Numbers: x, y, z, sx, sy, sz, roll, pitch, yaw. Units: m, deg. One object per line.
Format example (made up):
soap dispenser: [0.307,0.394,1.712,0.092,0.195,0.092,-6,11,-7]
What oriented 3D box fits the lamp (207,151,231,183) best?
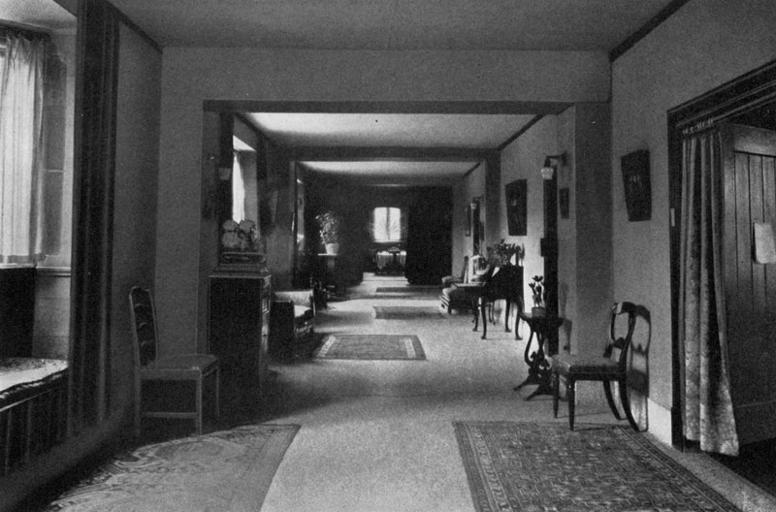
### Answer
lamp: [-1.750,-0.900,5.961,0.221,0.417,0.417,-1,5,0]

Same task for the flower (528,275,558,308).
flower: [1.715,0.388,6.461,0.210,0.295,0.161,-4,1,18]

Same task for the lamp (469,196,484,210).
lamp: [1.692,-0.993,10.829,0.239,0.131,0.348,-3,15,-6]

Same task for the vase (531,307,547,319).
vase: [1.629,0.620,6.162,0.088,0.117,0.160,0,-2,-21]

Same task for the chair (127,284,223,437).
chair: [-1.968,0.928,5.305,0.759,1.307,0.724,0,-1,-20]

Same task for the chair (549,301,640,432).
chair: [1.958,0.988,5.417,0.775,1.127,0.847,1,8,6]

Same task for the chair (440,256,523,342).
chair: [1.462,0.634,9.105,1.117,1.309,1.053,1,-3,-2]

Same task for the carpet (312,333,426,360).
carpet: [-0.222,1.242,7.820,1.450,0.090,1.424,0,8,1]

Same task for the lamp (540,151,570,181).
lamp: [1.825,-0.974,6.216,0.245,0.382,0.265,1,5,9]

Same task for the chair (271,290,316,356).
chair: [-1.325,0.766,7.729,0.347,0.454,0.899,-1,4,1]
